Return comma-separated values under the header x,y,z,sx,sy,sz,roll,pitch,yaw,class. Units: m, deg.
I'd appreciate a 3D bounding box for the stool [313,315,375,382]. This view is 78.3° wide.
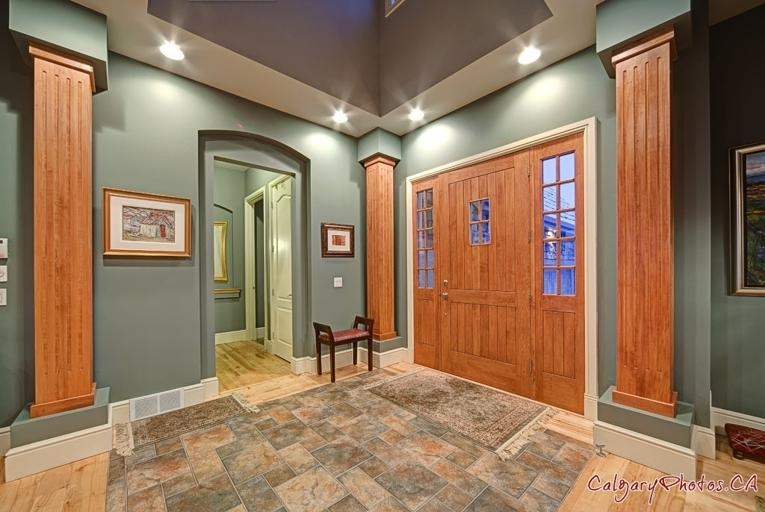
x,y,z,sx,sy,sz,roll,pitch,yaw,class
-0.490,1.157,6.033,0.739,0.679,0.391,-3,4,-41,stool

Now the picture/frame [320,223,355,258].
x,y,z,sx,sy,sz,roll,pitch,yaw,class
-0.614,-0.211,6.210,0.459,0.383,0.036,2,-4,-43,picture/frame

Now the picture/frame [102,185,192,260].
x,y,z,sx,sy,sz,roll,pitch,yaw,class
-2.497,-0.345,4.906,0.801,0.683,0.063,2,-6,-37,picture/frame
